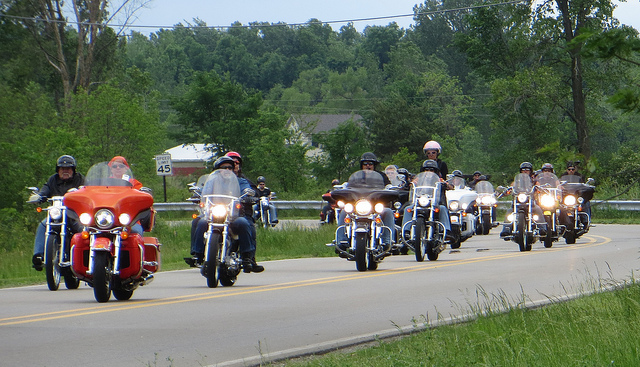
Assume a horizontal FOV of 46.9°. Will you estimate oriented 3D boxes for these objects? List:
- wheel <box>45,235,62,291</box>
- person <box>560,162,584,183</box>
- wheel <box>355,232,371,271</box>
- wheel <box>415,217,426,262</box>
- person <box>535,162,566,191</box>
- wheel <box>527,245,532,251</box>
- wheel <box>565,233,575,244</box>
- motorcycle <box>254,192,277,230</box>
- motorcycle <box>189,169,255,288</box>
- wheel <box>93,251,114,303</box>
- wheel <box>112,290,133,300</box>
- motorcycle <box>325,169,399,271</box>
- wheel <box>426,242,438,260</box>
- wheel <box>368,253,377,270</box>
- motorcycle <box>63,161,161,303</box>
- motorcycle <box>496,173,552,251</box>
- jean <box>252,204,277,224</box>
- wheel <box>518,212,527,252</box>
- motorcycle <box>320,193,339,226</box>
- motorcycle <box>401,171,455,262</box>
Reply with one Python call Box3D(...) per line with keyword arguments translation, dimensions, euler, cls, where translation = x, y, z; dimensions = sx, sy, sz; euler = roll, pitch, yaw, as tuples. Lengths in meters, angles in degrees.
Box3D(translation=(-6.521, 1.934, 17.965), dimensions=(0.378, 1.361, 0.678), euler=(0, 0, -24), cls="wheel")
Box3D(translation=(9.301, -0.350, 27.155), dimensions=(0.721, 0.511, 0.876), euler=(-3, 19, 4), cls="person")
Box3D(translation=(1.126, 1.792, 19.570), dimensions=(0.386, 1.010, 0.678), euler=(0, -1, 2), cls="wheel")
Box3D(translation=(2.929, 1.648, 21.478), dimensions=(0.304, 1.313, 0.558), euler=(0, 0, 10), cls="wheel")
Box3D(translation=(8.028, -0.252, 25.760), dimensions=(0.785, 0.566, 1.080), euler=(-3, -7, 9), cls="person")
Box3D(translation=(6.793, 2.100, 23.959), dimensions=(0.195, 0.160, 0.043), euler=(1, -4, -25), cls="wheel")
Box3D(translation=(8.872, 1.942, 26.087), dimensions=(0.255, 0.382, 0.363), euler=(0, -1, 17), cls="wheel")
Box3D(translation=(-2.485, 1.041, 32.119), dimensions=(1.396, 1.410, 2.303), euler=(10, 4, -4), cls="motorcycle")
Box3D(translation=(-2.381, 1.100, 17.905), dimensions=(1.129, 2.907, 1.209), euler=(0, 0, 19), cls="motorcycle")
Box3D(translation=(-4.760, 2.056, 16.170), dimensions=(0.413, 1.177, 0.656), euler=(0, 0, -12), cls="wheel")
Box3D(translation=(-4.503, 2.537, 16.777), dimensions=(0.291, 0.190, 0.287), euler=(0, -13, 0), cls="wheel")
Box3D(translation=(1.216, 1.013, 20.015), dimensions=(1.526, 2.708, 1.266), euler=(0, -1, -38), cls="motorcycle")
Box3D(translation=(3.296, 1.992, 21.762), dimensions=(0.238, 0.520, 0.410), euler=(0, -1, 20), cls="wheel")
Box3D(translation=(1.427, 2.097, 20.041), dimensions=(0.225, 0.488, 0.516), euler=(0, -4, 1), cls="wheel")
Box3D(translation=(-4.807, 1.173, 16.641), dimensions=(1.712, 2.957, 1.490), euler=(0, -1, 28), cls="motorcycle")
Box3D(translation=(6.807, 0.920, 24.398), dimensions=(1.380, 2.511, 1.599), euler=(0, -1, 15), cls="motorcycle")
Box3D(translation=(-2.384, 1.327, 32.136), dimensions=(0.873, 0.838, 1.439), euler=(-1, -4, -7), cls="jean")
Box3D(translation=(6.575, 1.562, 23.798), dimensions=(0.236, 1.237, 0.377), euler=(0, 0, 15), cls="wheel")
Box3D(translation=(0.408, 1.340, 32.217), dimensions=(0.883, 0.932, 1.538), euler=(1, -6, 2), cls="motorcycle")
Box3D(translation=(3.077, 0.968, 21.704), dimensions=(1.333, 2.673, 0.918), euler=(0, 0, -9), cls="motorcycle")
